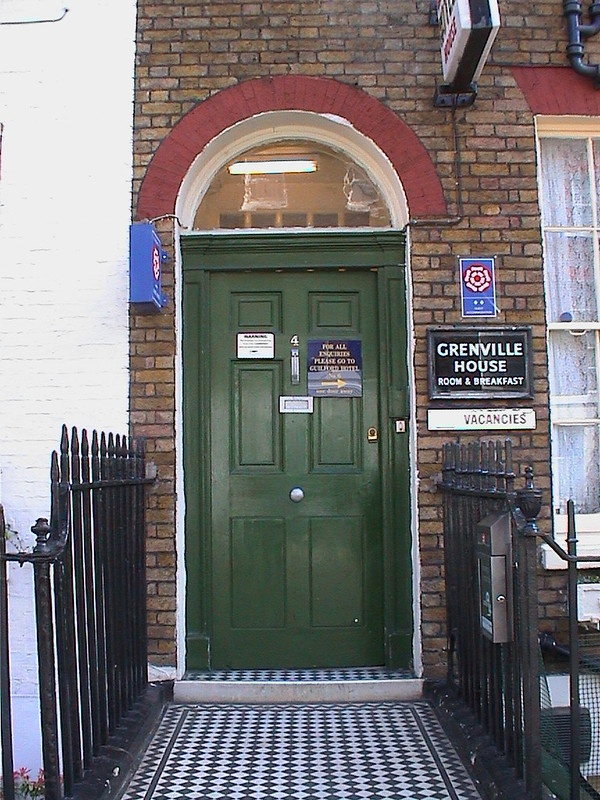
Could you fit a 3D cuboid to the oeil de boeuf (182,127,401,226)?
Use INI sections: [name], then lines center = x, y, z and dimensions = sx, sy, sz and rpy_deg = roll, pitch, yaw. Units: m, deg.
[oeil de boeuf]
center = -0.112, -1.297, 6.791
dimensions = 1.282, 0.508, 0.024
rpy_deg = 1, 13, 16
